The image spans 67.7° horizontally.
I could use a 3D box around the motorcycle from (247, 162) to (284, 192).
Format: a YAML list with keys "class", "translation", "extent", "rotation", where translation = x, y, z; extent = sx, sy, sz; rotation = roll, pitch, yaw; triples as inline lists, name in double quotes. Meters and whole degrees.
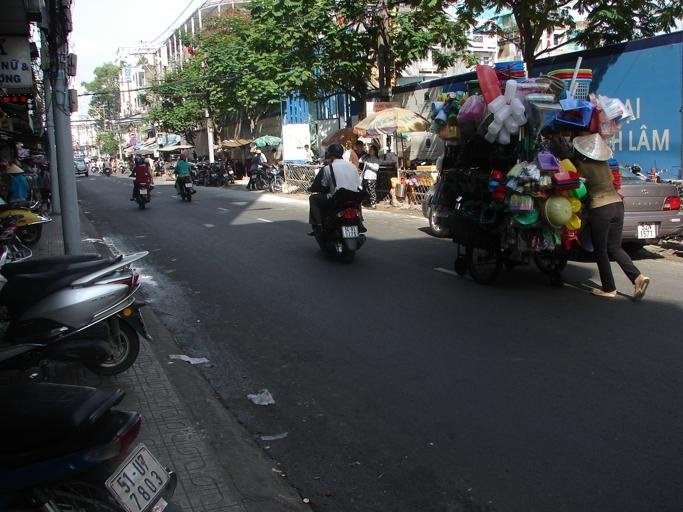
- class: "motorcycle"
  translation: [-3.995, -4.172, 27.435]
  extent: [1.107, 1.330, 3.075]
  rotation: [-9, 14, -33]

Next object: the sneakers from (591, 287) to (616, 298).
- class: "sneakers"
  translation: [3.678, 0.521, 7.156]
  extent: [0.311, 0.130, 0.116]
  rotation: [9, 16, 32]

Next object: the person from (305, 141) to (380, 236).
- class: "person"
  translation: [-0.048, -1.515, 10.542]
  extent: [1.071, 1.176, 1.849]
  rotation: [-1, 10, -4]

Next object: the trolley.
- class: "trolley"
  translation: [2.632, -0.102, 7.957]
  extent: [1.137, 0.955, 1.435]
  rotation: [-5, 21, -35]

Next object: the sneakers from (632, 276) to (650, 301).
- class: "sneakers"
  translation: [4.052, 0.420, 6.890]
  extent: [0.158, 0.419, 0.180]
  rotation: [-5, 17, -18]

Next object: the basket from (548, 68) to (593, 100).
- class: "basket"
  translation: [3.436, -2.572, 7.550]
  extent: [0.595, 0.400, 0.573]
  rotation: [2, 8, 7]

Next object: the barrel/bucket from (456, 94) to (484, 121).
- class: "barrel/bucket"
  translation: [1.990, -2.229, 7.697]
  extent: [0.223, 0.379, 0.554]
  rotation: [-7, 13, -23]

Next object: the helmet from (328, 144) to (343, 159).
- class: "helmet"
  translation: [-0.107, -2.053, 9.997]
  extent: [0.255, 0.293, 0.301]
  rotation: [0, 23, -2]

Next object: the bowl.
- class: "bowl"
  translation: [2.936, -0.740, 7.173]
  extent: [0.761, 0.755, 0.441]
  rotation: [5, 18, 6]

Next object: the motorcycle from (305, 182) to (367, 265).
- class: "motorcycle"
  translation: [0.019, -0.629, 9.930]
  extent: [0.571, 1.358, 1.089]
  rotation: [-8, 13, -27]

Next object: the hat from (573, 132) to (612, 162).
- class: "hat"
  translation: [3.490, -1.499, 7.060]
  extent: [0.503, 0.382, 0.380]
  rotation: [4, 13, 24]

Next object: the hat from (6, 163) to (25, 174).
- class: "hat"
  translation: [-9.282, -2.453, 14.466]
  extent: [0.457, 0.247, 0.482]
  rotation: [6, 13, 44]

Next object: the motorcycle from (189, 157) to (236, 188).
- class: "motorcycle"
  translation: [-8.878, -5.659, 34.925]
  extent: [1.689, 1.646, 4.155]
  rotation: [-9, 14, -31]
